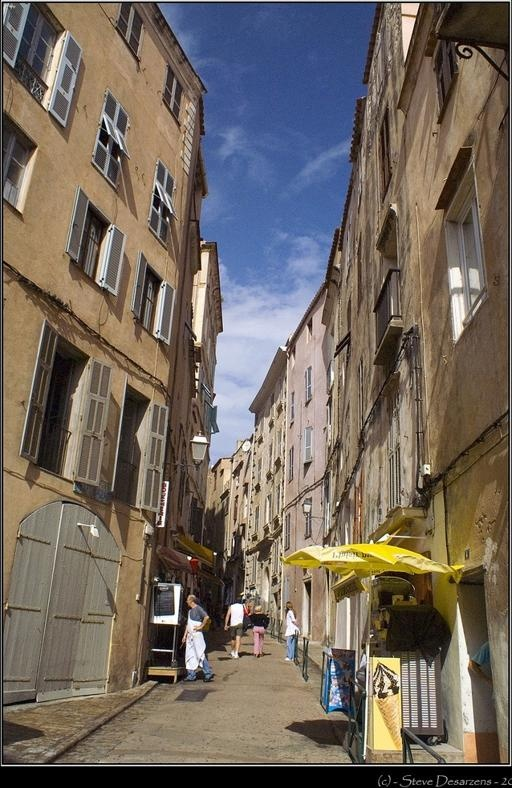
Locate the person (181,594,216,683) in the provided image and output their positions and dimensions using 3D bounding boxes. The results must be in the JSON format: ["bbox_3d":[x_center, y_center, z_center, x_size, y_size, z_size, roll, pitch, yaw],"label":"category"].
[{"bbox_3d":[-1.405,5.861,11.041,0.713,1.878,2.617,4,-23,-6],"label":"person"}]

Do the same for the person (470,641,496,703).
[{"bbox_3d":[2.043,2.425,4.121,0.169,0.366,0.896,-5,-26,20],"label":"person"}]

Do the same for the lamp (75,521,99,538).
[{"bbox_3d":[-3.192,2.571,8.732,0.170,0.246,0.875,0,-26,8],"label":"lamp"}]
